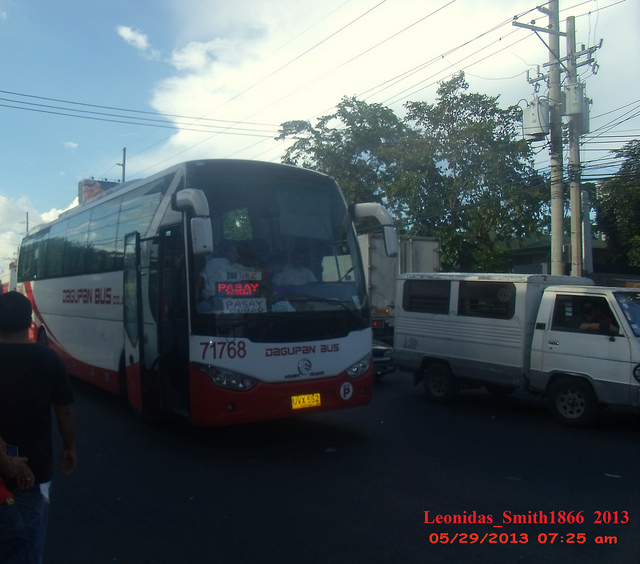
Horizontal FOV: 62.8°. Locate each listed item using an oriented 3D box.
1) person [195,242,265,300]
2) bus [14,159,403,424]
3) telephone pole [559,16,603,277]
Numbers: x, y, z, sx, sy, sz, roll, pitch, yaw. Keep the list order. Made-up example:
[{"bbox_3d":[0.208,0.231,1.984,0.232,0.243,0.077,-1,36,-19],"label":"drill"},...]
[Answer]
[{"bbox_3d":[-1.184,-0.164,6.537,0.700,0.740,0.365,1,-2,-43],"label":"person"},{"bbox_3d":[-3.506,0.042,10.901,3.316,4.335,10.409,-4,0,-40],"label":"bus"},{"bbox_3d":[7.335,-4.069,15.017,0.728,7.758,1.019,-1,-2,31],"label":"telephone pole"}]
